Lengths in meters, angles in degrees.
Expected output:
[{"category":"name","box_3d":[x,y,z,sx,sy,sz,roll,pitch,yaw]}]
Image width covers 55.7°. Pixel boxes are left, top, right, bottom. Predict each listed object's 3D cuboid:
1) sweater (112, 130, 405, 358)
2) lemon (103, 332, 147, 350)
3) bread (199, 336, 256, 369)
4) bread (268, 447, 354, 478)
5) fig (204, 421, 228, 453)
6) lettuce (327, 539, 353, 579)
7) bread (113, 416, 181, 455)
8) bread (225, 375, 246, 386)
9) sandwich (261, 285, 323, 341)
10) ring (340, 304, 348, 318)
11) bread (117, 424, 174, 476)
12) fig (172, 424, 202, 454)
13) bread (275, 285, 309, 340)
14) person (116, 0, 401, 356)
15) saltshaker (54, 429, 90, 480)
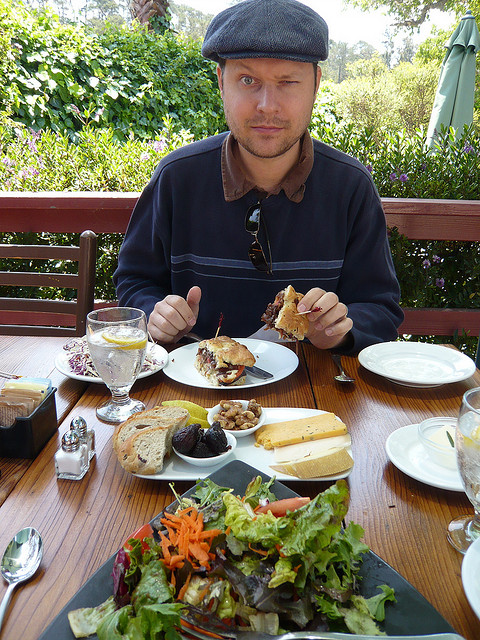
[{"category":"sweater","box_3d":[0.072,-0.401,2.426,1.538,1.140,0.852,7,31,8]},{"category":"lemon","box_3d":[-0.296,0.060,1.174,0.110,0.034,0.078,0,18,-16]},{"category":"bread","box_3d":[-0.067,0.109,1.673,0.169,0.097,0.180,-3,9,-35]},{"category":"bread","box_3d":[0.159,0.311,0.985,0.177,0.039,0.055,0,18,-16]},{"category":"fig","box_3d":[-0.057,0.270,1.044,0.045,0.022,0.057,-16,67,-31]},{"category":"lettuce","box_3d":[0.144,0.357,0.681,0.043,0.018,0.043,8,55,-24]},{"category":"bread","box_3d":[-0.229,0.260,1.106,0.112,0.079,0.127,6,12,28]},{"category":"bread","box_3d":[-0.014,0.208,1.526,0.042,0.021,0.096,9,18,12]},{"category":"sandwich","box_3d":[0.190,-0.024,1.805,0.180,0.076,0.238,25,51,-1]},{"category":"ring","box_3d":[0.413,-0.034,1.824,0.014,0.055,0.058,-7,-10,7]},{"category":"bread","box_3d":[-0.218,0.294,1.029,0.116,0.059,0.130,3,18,-6]},{"category":"fig","box_3d":[-0.120,0.268,1.028,0.048,0.028,0.064,37,58,21]},{"category":"bread","box_3d":[0.187,-0.027,1.760,0.104,0.198,0.124,3,11,-1]},{"category":"person","box_3d":[0.100,-0.621,2.211,1.457,1.556,0.635,6,17,4]},{"category":"saltshaker","box_3d":[-0.377,0.296,1.014,0.077,0.096,0.078,10,13,19]}]
